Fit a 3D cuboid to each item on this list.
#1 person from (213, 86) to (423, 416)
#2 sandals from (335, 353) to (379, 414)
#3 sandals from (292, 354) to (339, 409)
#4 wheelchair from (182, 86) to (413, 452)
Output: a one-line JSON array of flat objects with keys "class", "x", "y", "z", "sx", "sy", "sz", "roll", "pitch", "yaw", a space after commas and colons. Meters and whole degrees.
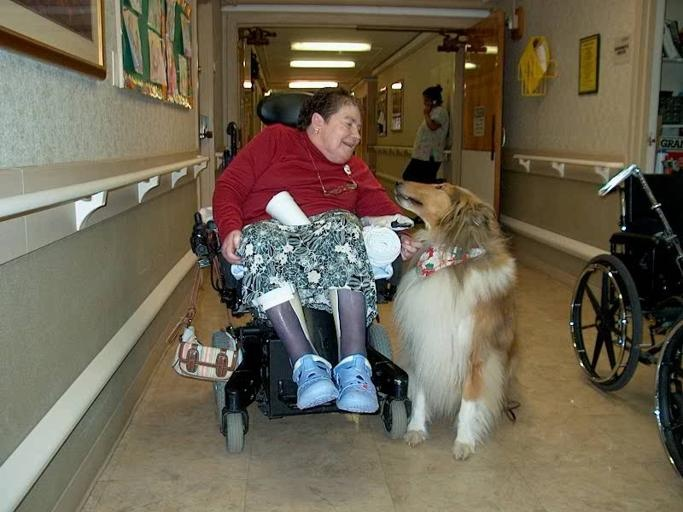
[{"class": "person", "x": -0.160, "y": -0.078, "z": 2.421, "sx": 0.961, "sy": 1.522, "sz": 1.135, "roll": 1, "pitch": 12, "yaw": 3}, {"class": "sandals", "x": 0.059, "y": 0.551, "z": 2.079, "sx": 0.182, "sy": 0.252, "sz": 0.200, "roll": 0, "pitch": 12, "yaw": -2}, {"class": "sandals", "x": -0.111, "y": 0.546, "z": 2.089, "sx": 0.179, "sy": 0.257, "sz": 0.247, "roll": -1, "pitch": 12, "yaw": -6}, {"class": "wheelchair", "x": -0.102, "y": 0.035, "z": 2.430, "sx": 0.951, "sy": 1.592, "sz": 0.936, "roll": -3, "pitch": 6, "yaw": -21}]
